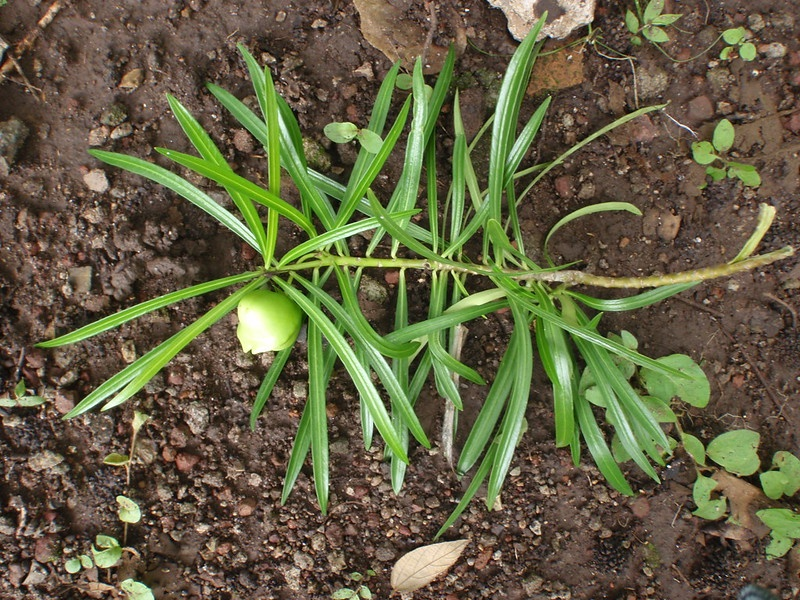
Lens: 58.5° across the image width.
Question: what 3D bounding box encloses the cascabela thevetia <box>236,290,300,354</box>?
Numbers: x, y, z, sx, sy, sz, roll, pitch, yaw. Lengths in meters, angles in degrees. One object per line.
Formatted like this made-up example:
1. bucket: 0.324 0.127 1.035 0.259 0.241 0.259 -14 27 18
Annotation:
1. cascabela thevetia: -0.467 0.080 2.488 0.207 0.116 0.223 17 97 -8
